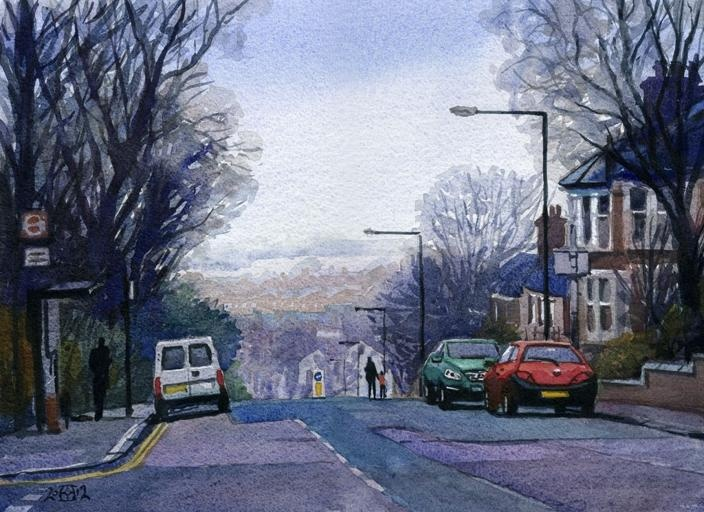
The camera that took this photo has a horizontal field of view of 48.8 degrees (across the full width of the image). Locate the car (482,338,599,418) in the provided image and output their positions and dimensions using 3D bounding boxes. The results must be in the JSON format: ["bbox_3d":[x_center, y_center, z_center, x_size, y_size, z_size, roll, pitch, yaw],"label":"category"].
[{"bbox_3d":[5.115,3.376,21.330,2.888,2.048,1.848,-5,-6,18],"label":"car"}]

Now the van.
[{"bbox_3d":[-5.334,3.884,25.433,1.619,1.692,2.965,-4,-7,-11],"label":"van"}]
